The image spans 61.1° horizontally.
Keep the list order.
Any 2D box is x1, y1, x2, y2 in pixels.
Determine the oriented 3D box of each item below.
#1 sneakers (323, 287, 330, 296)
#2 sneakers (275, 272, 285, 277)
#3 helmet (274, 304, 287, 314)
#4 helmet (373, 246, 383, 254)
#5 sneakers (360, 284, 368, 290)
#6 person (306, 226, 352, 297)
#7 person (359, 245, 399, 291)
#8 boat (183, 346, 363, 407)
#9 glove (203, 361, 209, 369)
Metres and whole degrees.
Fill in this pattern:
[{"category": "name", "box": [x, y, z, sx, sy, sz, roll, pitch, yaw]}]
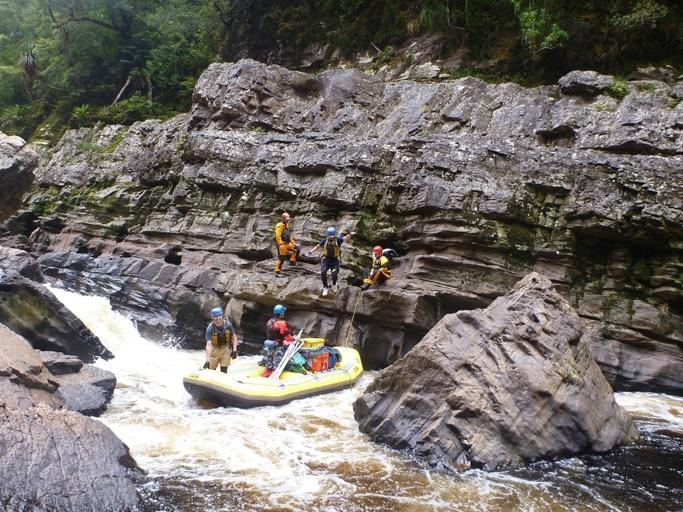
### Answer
[{"category": "sneakers", "box": [-0.501, 1.059, 17.731, 0.124, 0.120, 0.324, -4, 21, 13]}, {"category": "sneakers", "box": [-2.040, 0.591, 18.885, 0.384, 0.216, 0.111, -4, 40, -6]}, {"category": "helmet", "box": [-1.691, 1.440, 15.611, 0.318, 0.169, 0.395, 4, 25, 8]}, {"category": "helmet", "box": [1.110, -0.192, 17.901, 0.227, 0.190, 0.275, -2, -4, 42]}, {"category": "sneakers", "box": [0.704, 0.948, 17.601, 0.222, 0.147, 0.135, 13, 3, 2]}, {"category": "person", "box": [-0.438, 0.155, 18.230, 1.044, 2.014, 1.356, 15, 3, -3]}, {"category": "person", "box": [1.263, 0.314, 17.949, 1.349, 1.194, 0.910, -3, 17, 26]}, {"category": "boat", "box": [-1.524, 3.275, 14.931, 3.302, 0.572, 1.550, -4, 7, -33]}, {"category": "glove", "box": [-3.574, 2.863, 15.120, 0.147, 0.195, 0.059, 12, 14, -1]}]
